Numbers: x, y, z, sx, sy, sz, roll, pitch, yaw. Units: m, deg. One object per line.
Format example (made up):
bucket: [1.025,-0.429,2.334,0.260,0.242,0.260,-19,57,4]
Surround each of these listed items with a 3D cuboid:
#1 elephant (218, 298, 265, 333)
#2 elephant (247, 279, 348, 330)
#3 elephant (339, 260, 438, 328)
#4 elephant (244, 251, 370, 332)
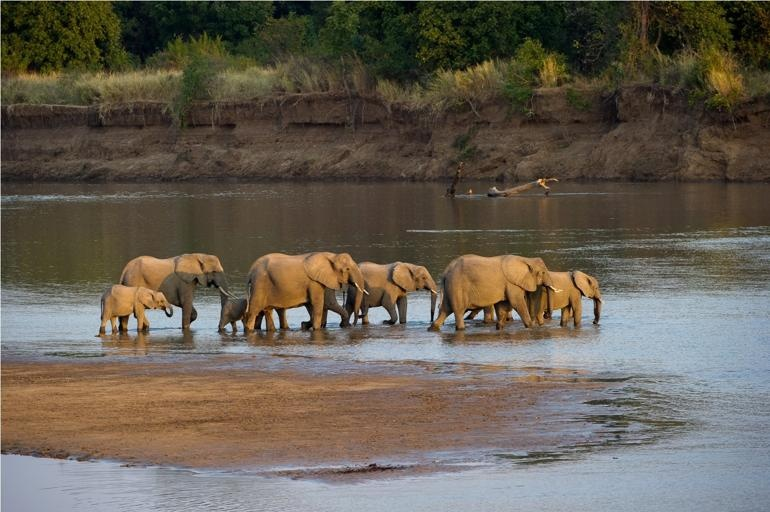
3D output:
elephant: [-3.719,1.455,36.856,0.728,0.814,0.564,-2,-2,-7]
elephant: [-1.885,1.429,37.047,3.351,1.613,1.098,1,0,-8]
elephant: [0.049,0.855,38.097,2.966,1.634,1.047,-3,3,-3]
elephant: [-2.207,0.725,36.775,3.323,2.028,1.323,-3,4,-10]
